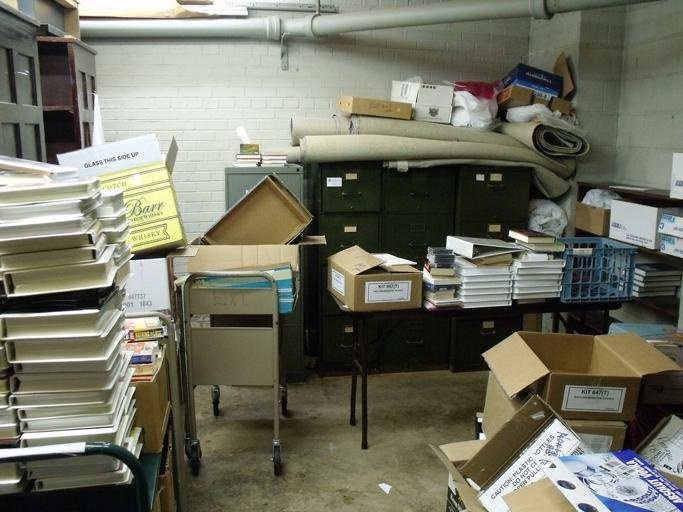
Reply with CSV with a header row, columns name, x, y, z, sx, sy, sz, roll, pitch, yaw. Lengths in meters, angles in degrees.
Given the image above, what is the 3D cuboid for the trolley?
name,x,y,z,sx,sy,sz,roll,pitch,yaw
trolley,-0.660,0.635,3.481,0.612,1.190,0.691,-4,12,-8

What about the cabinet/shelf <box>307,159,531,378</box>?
name,x,y,z,sx,sy,sz,roll,pitch,yaw
cabinet/shelf,0.543,0.048,4.138,1.976,1.601,0.602,1,8,0

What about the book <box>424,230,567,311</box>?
name,x,y,z,sx,sy,sz,roll,pitch,yaw
book,0.950,0.069,3.482,0.701,0.271,0.489,-2,8,-6

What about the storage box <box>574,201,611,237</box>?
name,x,y,z,sx,sy,sz,roll,pitch,yaw
storage box,1.967,-0.292,4.547,0.253,0.248,0.421,-4,14,-8

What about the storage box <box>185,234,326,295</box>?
name,x,y,z,sx,sy,sz,roll,pitch,yaw
storage box,-0.547,0.051,3.411,0.661,0.197,0.338,0,8,-8

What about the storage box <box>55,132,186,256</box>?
name,x,y,z,sx,sy,sz,roll,pitch,yaw
storage box,-1.146,-0.306,2.989,0.608,0.512,0.580,-14,15,-13

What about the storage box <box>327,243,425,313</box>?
name,x,y,z,sx,sy,sz,roll,pitch,yaw
storage box,0.218,0.130,3.582,0.517,0.343,0.437,-5,11,-13

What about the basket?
name,x,y,z,sx,sy,sz,roll,pitch,yaw
basket,1.566,0.064,3.546,0.460,0.266,0.426,1,13,8
